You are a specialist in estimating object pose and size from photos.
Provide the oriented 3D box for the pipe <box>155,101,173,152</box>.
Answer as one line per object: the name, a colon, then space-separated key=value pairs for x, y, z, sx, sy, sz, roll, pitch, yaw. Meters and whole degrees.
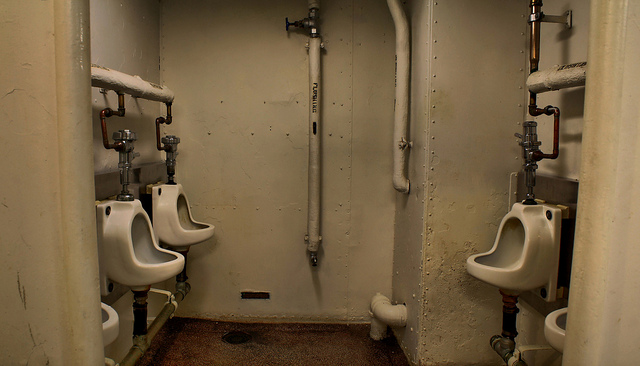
pipe: x=-1.009 y=-0.365 z=3.215 sx=0.106 sy=0.263 sz=0.059 roll=-5 pitch=9 yaw=-13

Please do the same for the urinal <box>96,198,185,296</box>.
urinal: x=-0.958 y=0.326 z=2.659 sx=0.415 sy=0.503 sz=0.335 roll=-6 pitch=9 yaw=-15

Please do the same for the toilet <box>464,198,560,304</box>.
toilet: x=1.072 y=0.336 z=2.909 sx=0.600 sy=0.678 sz=0.505 roll=-5 pitch=6 yaw=-3

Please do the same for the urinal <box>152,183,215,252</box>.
urinal: x=-0.887 y=0.216 z=3.328 sx=0.467 sy=0.523 sz=0.389 roll=1 pitch=5 yaw=-3

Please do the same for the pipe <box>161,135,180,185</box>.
pipe: x=-0.952 y=-0.137 z=3.157 sx=0.119 sy=0.284 sz=0.114 roll=-3 pitch=1 yaw=-29

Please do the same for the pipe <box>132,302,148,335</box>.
pipe: x=-0.988 y=0.736 z=2.714 sx=0.087 sy=0.195 sz=0.044 roll=-1 pitch=9 yaw=19

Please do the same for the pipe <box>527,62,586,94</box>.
pipe: x=1.175 y=-0.518 z=2.483 sx=0.100 sy=0.129 sz=0.366 roll=-6 pitch=9 yaw=-15

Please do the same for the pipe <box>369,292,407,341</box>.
pipe: x=0.436 y=0.919 z=3.372 sx=0.209 sy=0.290 sz=0.418 roll=-5 pitch=8 yaw=-6

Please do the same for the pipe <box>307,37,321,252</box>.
pipe: x=-0.035 y=-0.266 z=3.330 sx=0.157 sy=1.201 sz=0.079 roll=0 pitch=2 yaw=1
